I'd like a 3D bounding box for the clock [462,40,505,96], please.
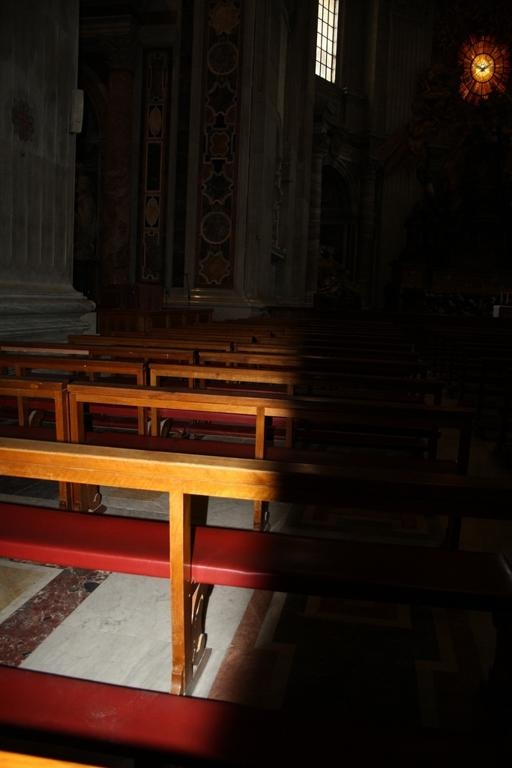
[{"bbox_3d":[7.868,-10.950,19.956,1.745,2.186,0.195,2,2,2],"label":"clock"}]
